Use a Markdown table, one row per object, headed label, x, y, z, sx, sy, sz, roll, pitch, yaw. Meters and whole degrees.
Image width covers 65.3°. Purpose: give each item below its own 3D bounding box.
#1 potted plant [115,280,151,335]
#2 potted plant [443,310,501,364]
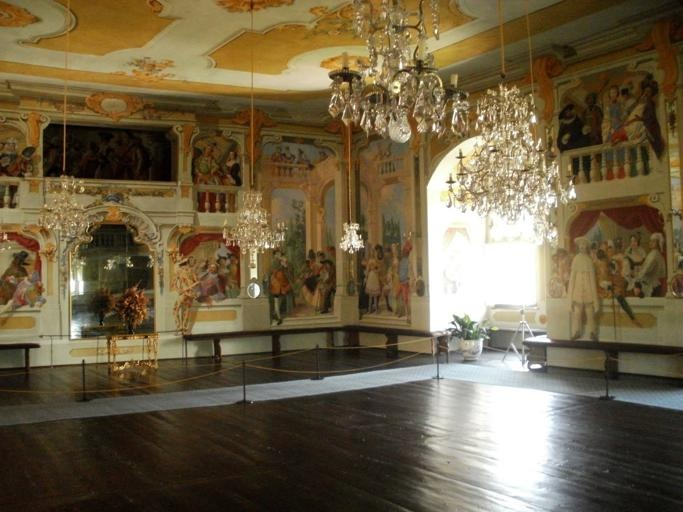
| label | x | y | z | sx | sy | sz | roll | pitch | yaw |
| --- | --- | --- | --- | --- | --- | --- | --- | --- | --- |
| potted plant | -5.844 | 1.519 | 15.291 | 1.252 | 1.572 | 1.200 | 0 | -8 | 0 |
| potted plant | 3.690 | 2.356 | 15.201 | 1.252 | 1.112 | 1.246 | 1 | -10 | 2 |
